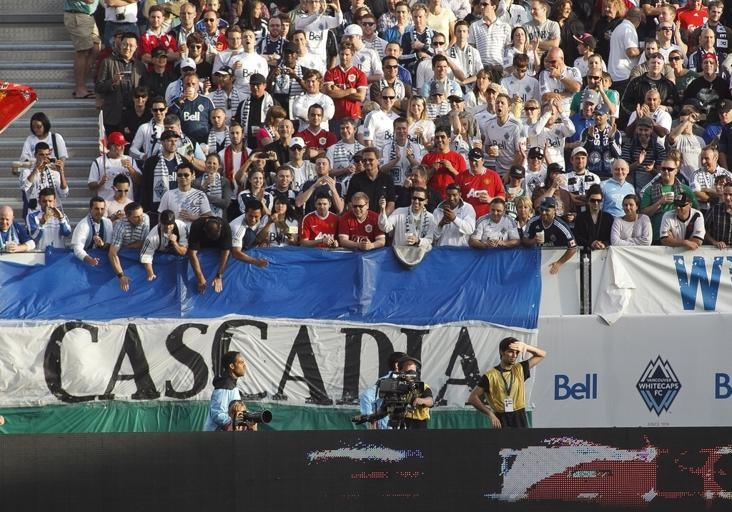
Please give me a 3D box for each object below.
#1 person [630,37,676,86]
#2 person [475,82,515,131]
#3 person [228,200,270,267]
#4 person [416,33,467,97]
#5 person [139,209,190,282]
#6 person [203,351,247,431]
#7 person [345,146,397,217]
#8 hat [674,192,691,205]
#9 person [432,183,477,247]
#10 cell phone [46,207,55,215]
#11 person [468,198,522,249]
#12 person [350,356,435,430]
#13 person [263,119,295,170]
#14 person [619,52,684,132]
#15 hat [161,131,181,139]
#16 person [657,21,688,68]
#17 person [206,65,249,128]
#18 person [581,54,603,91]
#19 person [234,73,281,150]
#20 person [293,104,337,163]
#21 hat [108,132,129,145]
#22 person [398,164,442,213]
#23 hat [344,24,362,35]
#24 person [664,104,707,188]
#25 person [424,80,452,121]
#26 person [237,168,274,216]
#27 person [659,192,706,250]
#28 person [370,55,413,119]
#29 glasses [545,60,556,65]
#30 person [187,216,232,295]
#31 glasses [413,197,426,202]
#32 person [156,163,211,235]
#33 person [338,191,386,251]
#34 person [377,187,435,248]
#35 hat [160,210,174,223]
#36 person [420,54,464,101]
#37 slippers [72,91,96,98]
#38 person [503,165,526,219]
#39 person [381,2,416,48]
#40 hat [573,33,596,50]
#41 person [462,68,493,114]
[{"bbox_3d":[5.357,-3.581,42.073,0.830,1.184,0.661,-4,-8,15],"label":"person"},{"bbox_3d":[2.336,-2.703,41.242,0.790,0.780,0.453,-5,-31,17],"label":"person"},{"bbox_3d":[-2.043,-0.432,38.909,0.719,1.021,1.101,-3,24,-23],"label":"person"},{"bbox_3d":[1.386,-3.323,41.995,0.822,0.783,0.406,-6,9,-19],"label":"person"},{"bbox_3d":[-3.457,-0.291,38.815,0.790,1.205,1.182,5,-34,-5],"label":"person"},{"bbox_3d":[-2.239,2.149,36.295,0.551,1.520,0.937,4,-17,-6],"label":"person"},{"bbox_3d":[0.128,-1.290,39.541,0.894,1.169,0.657,-5,-10,8],"label":"person"},{"bbox_3d":[5.407,-0.997,38.519,0.290,0.193,0.248,1,0,8],"label":"hat"},{"bbox_3d":[1.540,-0.741,38.935,0.740,0.828,0.391,1,0,2],"label":"person"},{"bbox_3d":[-5.521,-0.821,39.679,0.125,0.052,0.091,30,-53,-4],"label":"cell phone"},{"bbox_3d":[2.236,-0.621,38.917,0.974,1.239,0.804,0,1,5],"label":"person"},{"bbox_3d":[0.451,2.061,35.992,1.152,1.628,1.225,-1,-6,9],"label":"person"},{"bbox_3d":[-1.536,-1.974,40.258,0.757,1.047,0.551,2,-25,-1],"label":"person"},{"bbox_3d":[5.239,-2.754,41.576,1.069,2.102,0.718,1,-18,5],"label":"person"},{"bbox_3d":[-3.473,-2.146,40.109,0.171,0.175,0.205,2,-6,-42],"label":"hat"},{"bbox_3d":[5.643,-4.010,42.616,0.845,0.716,0.437,5,-4,-8],"label":"person"},{"bbox_3d":[-2.512,-2.914,41.695,0.951,1.391,0.511,-9,-22,16],"label":"person"},{"bbox_3d":[4.242,-3.358,41.729,0.444,0.853,0.508,2,-41,10],"label":"person"},{"bbox_3d":[-1.989,-2.442,41.267,0.928,1.719,0.501,0,-9,17],"label":"person"},{"bbox_3d":[-0.945,-2.576,41.463,0.740,1.627,0.531,-2,6,-5],"label":"person"},{"bbox_3d":[-4.459,-2.129,40.702,0.331,0.179,0.213,9,11,8],"label":"hat"},{"bbox_3d":[0.979,-1.175,39.365,0.700,0.865,0.486,13,15,40],"label":"person"},{"bbox_3d":[-0.215,-4.259,42.729,0.286,0.135,0.210,7,-2,-5],"label":"hat"},{"bbox_3d":[5.819,-1.763,40.526,0.727,1.564,0.468,-1,-11,-8],"label":"person"},{"bbox_3d":[1.322,-2.836,41.315,0.502,0.700,0.249,-2,-1,-5],"label":"person"},{"bbox_3d":[-1.919,-1.135,39.463,0.758,1.064,0.715,0,-6,-6],"label":"person"},{"bbox_3d":[5.416,-0.620,38.536,0.763,0.794,0.281,1,0,8],"label":"person"},{"bbox_3d":[0.486,-3.220,42.158,0.751,1.075,0.593,-5,14,-9],"label":"person"},{"bbox_3d":[3.414,-3.580,41.830,0.056,0.064,0.198,0,1,-44],"label":"glasses"},{"bbox_3d":[-2.633,-0.103,38.721,0.724,1.289,0.899,3,-30,-4],"label":"person"},{"bbox_3d":[0.937,-1.000,38.861,0.255,0.113,0.210,1,1,-8],"label":"glasses"},{"bbox_3d":[-3.150,-0.970,39.322,1.099,1.402,0.671,-2,-17,-1],"label":"person"},{"bbox_3d":[-0.038,-0.562,38.904,0.760,0.837,1.016,0,5,-1],"label":"person"},{"bbox_3d":[0.710,-0.667,38.983,0.889,1.868,0.725,1,-14,6],"label":"person"},{"bbox_3d":[-3.378,-0.703,38.653,0.182,0.225,0.212,1,-41,-9],"label":"hat"},{"bbox_3d":[1.402,-3.277,41.882,0.938,0.871,0.507,0,-9,-8],"label":"person"},{"bbox_3d":[-5.335,-3.048,42.954,0.423,0.150,0.154,-3,1,13],"label":"slippers"},{"bbox_3d":[2.644,-1.056,39.598,0.422,1.136,0.407,7,22,4],"label":"person"},{"bbox_3d":[0.648,-4.378,43.307,0.849,0.810,0.433,6,-23,-1],"label":"person"},{"bbox_3d":[4.123,-4.028,42.596,0.389,0.224,0.250,34,23,10],"label":"hat"},{"bbox_3d":[2.152,-2.937,41.922,0.508,1.054,0.343,5,-14,4],"label":"person"}]
